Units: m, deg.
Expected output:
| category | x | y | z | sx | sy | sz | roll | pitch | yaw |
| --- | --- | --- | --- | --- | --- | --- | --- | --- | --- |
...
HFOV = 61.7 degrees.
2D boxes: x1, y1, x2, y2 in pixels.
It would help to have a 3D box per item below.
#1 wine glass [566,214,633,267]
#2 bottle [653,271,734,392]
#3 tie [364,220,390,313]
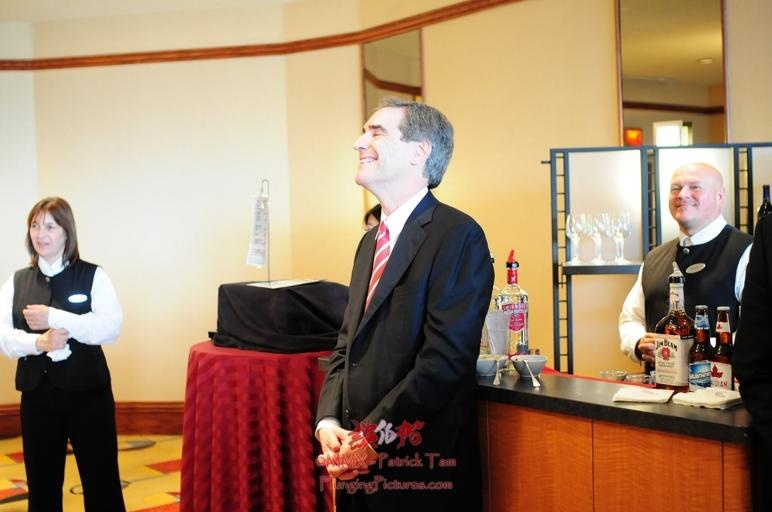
| category | x | y | z | sx | sy | sz | roll | pitch | yaw |
| --- | --- | --- | --- | --- | --- | --- | --- | --- | --- |
| wine glass | 1.534 | -0.113 | 4.592 | 0.369 | 0.280 | 0.142 | 0 | -2 | 2 |
| bottle | 1.300 | 0.310 | 2.812 | 0.236 | 0.545 | 0.185 | 0 | -1 | 24 |
| tie | -0.030 | 0.023 | 2.985 | 0.071 | 0.538 | 0.063 | 11 | -20 | 8 |
